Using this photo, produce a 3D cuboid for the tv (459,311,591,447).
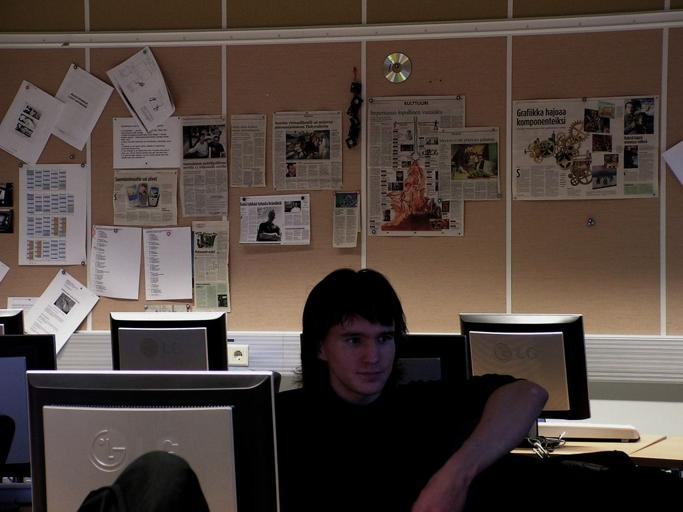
[{"bbox_3d":[0.801,0.535,3.019,0.575,0.641,0.203,-1,2,7],"label":"tv"}]
